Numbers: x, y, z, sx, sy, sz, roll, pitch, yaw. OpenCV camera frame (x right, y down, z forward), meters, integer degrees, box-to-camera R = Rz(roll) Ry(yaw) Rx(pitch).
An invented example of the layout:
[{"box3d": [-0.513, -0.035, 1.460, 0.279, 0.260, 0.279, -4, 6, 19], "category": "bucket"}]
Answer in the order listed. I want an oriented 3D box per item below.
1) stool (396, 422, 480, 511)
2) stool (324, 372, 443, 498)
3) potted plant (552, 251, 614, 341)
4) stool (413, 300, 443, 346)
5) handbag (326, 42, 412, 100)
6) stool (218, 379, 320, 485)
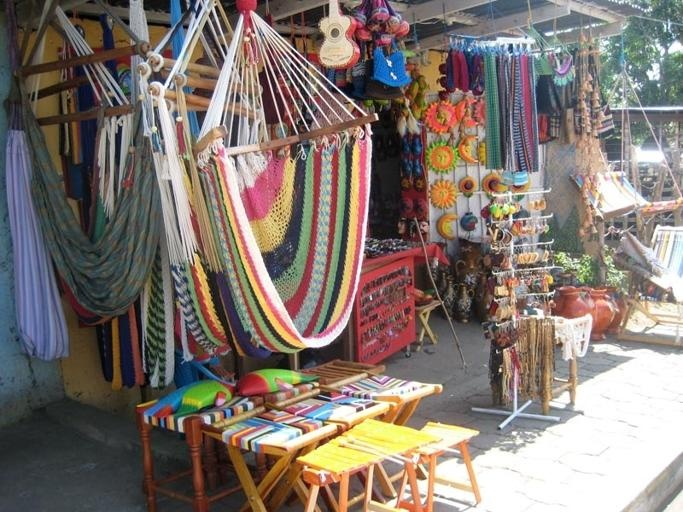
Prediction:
[{"box3d": [0.769, 1.470, 5.526, 0.554, 0.677, 0.650, -2, 0, 43], "category": "stool"}, {"box3d": [0.404, 1.384, 5.952, 0.845, 0.963, 0.802, 5, 8, 41], "category": "stool"}, {"box3d": [2.799, 0.473, 8.675, 0.877, 1.101, 0.551, -2, 3, -8], "category": "potted plant"}, {"box3d": [1.047, 0.837, 9.013, 0.298, 0.422, 0.420, -9, -11, 22], "category": "stool"}, {"box3d": [0.244, -1.861, 6.820, 0.730, 0.898, 0.446, -1, -2, -2], "category": "handbag"}, {"box3d": [-0.426, 1.304, 5.490, 0.656, 0.337, 1.053, 7, 9, 24], "category": "stool"}]
